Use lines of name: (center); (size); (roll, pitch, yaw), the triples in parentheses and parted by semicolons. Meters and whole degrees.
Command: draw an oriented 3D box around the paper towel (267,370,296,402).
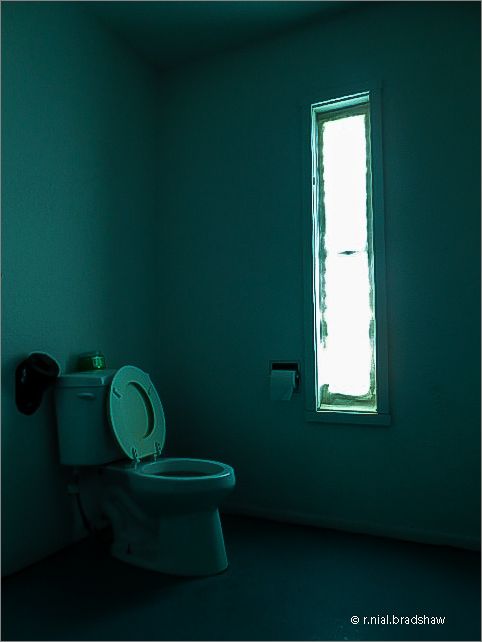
paper towel: (0.183, 0.295, 2.663); (0.127, 0.130, 0.036); (-2, -12, 29)

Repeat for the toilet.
toilet: (-0.334, 0.548, 2.262); (0.670, 0.716, 0.407); (-1, -6, 26)
